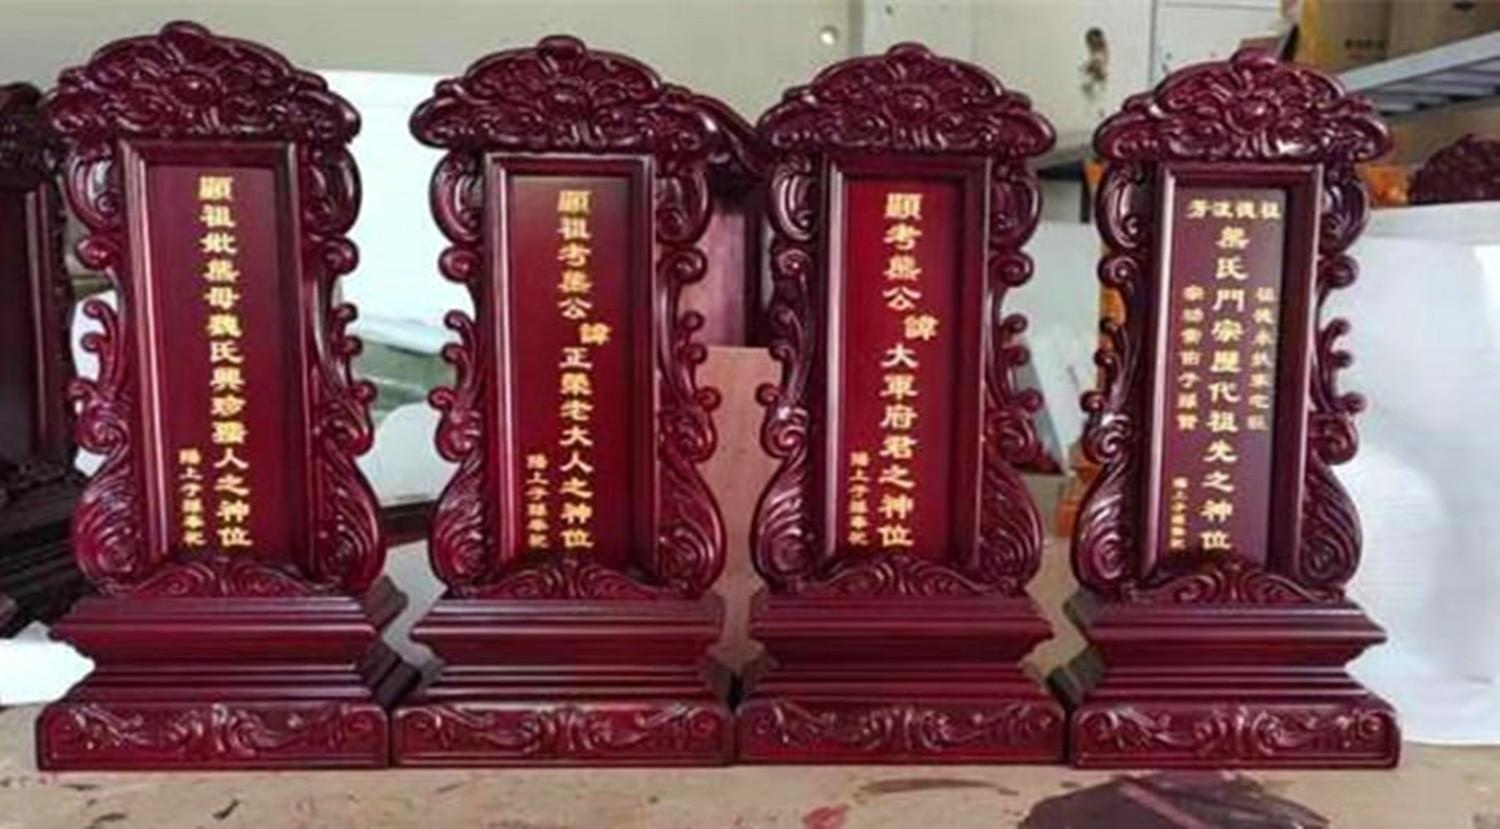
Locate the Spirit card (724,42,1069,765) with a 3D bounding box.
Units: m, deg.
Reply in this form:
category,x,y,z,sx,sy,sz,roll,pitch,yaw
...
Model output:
category,x,y,z,sx,sy,sz,roll,pitch,yaw
Spirit card,0.328,-0.008,3.294,0.786,1.682,0.294,-2,13,1
